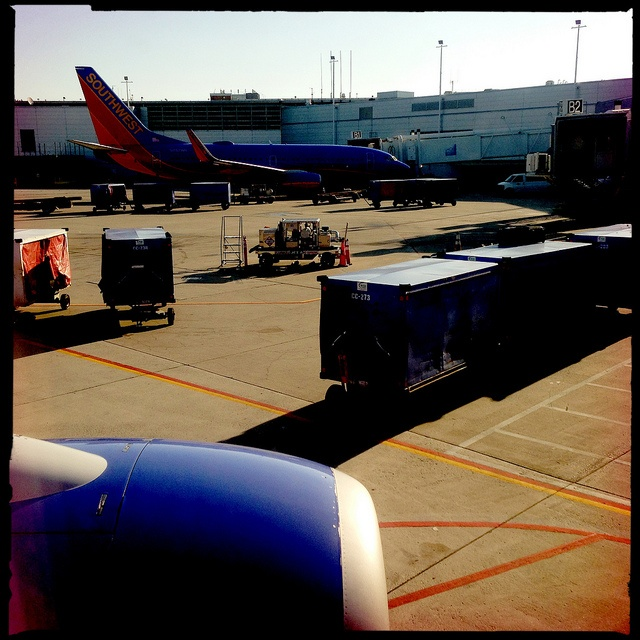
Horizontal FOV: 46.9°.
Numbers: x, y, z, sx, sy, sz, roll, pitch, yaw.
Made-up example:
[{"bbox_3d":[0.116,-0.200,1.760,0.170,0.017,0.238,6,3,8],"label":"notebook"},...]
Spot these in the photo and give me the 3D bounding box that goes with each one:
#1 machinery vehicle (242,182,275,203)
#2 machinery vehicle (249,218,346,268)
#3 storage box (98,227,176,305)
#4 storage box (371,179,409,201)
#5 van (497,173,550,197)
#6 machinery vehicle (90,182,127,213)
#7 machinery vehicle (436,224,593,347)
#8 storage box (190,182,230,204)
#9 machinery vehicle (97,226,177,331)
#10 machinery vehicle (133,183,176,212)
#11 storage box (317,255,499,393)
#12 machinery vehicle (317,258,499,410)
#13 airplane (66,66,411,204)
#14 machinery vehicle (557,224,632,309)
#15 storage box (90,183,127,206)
[{"bbox_3d":[-6.265,-12.365,72.799,2.858,1.746,1.638,-2,13,0],"label":"machinery vehicle"},{"bbox_3d":[-0.747,-3.238,31.717,3.943,1.930,2.022,-2,14,-4],"label":"machinery vehicle"},{"bbox_3d":[-5.516,-1.515,22.440,2.047,2.392,3.381,-4,2,-10],"label":"storage box"},{"bbox_3d":[5.777,-10.980,63.602,2.828,1.764,1.375,-5,14,-21],"label":"storage box"},{"bbox_3d":[20.263,-13.330,73.253,3.921,1.671,2.200,7,19,21],"label":"van"},{"bbox_3d":[-17.624,-10.416,60.153,2.267,2.785,3.971,3,12,14],"label":"machinery vehicle"},{"bbox_3d":[5.113,-0.965,19.073,2.448,2.247,4.580,8,15,37],"label":"machinery vehicle"},{"bbox_3d":[-9.868,-11.117,65.491,3.441,1.741,3.134,-3,13,-13],"label":"storage box"},{"bbox_3d":[-5.499,-1.699,22.113,1.785,2.266,3.090,0,15,-7],"label":"machinery vehicle"},{"bbox_3d":[-13.792,-10.177,60.515,3.999,2.569,2.409,-3,10,-22],"label":"machinery vehicle"},{"bbox_3d":[2.082,0.075,15.762,2.204,2.367,4.642,8,14,38],"label":"storage box"},{"bbox_3d":[1.913,0.227,15.684,2.173,2.603,4.438,7,13,36],"label":"machinery vehicle"},{"bbox_3d":[-8.373,-17.650,72.300,28.044,11.911,6.570,-2,13,-9],"label":"airplane"},{"bbox_3d":[7.601,-1.359,20.418,2.348,2.277,0.565,-4,12,-33],"label":"machinery vehicle"},{"bbox_3d":[-17.259,-9.957,60.122,1.619,1.929,2.828,4,13,16],"label":"storage box"}]
